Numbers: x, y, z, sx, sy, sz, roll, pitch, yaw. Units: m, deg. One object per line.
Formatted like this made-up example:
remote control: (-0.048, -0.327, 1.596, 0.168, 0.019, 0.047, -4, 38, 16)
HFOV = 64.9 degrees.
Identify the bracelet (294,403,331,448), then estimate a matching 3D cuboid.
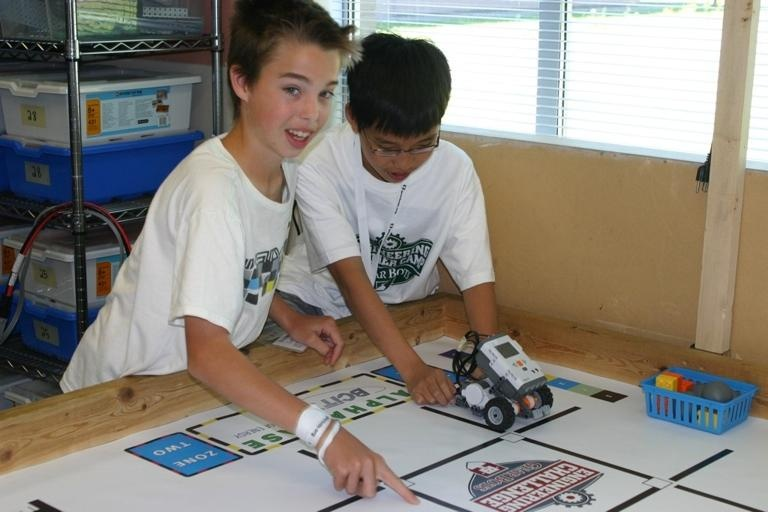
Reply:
bracelet: (-0.136, 0.334, 1.186, 0.057, 0.072, 0.054, 8, 21, 29)

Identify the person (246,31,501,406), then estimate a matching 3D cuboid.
person: (0.036, -0.137, 1.752, 0.695, 0.915, 0.666, 9, 28, 12)

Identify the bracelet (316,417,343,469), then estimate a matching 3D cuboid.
bracelet: (-0.109, 0.365, 1.186, 0.030, 0.079, 0.059, 27, -16, -31)

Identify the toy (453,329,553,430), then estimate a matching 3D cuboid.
toy: (0.267, 0.290, 1.566, 0.262, 0.191, 0.186, 11, 19, 36)
